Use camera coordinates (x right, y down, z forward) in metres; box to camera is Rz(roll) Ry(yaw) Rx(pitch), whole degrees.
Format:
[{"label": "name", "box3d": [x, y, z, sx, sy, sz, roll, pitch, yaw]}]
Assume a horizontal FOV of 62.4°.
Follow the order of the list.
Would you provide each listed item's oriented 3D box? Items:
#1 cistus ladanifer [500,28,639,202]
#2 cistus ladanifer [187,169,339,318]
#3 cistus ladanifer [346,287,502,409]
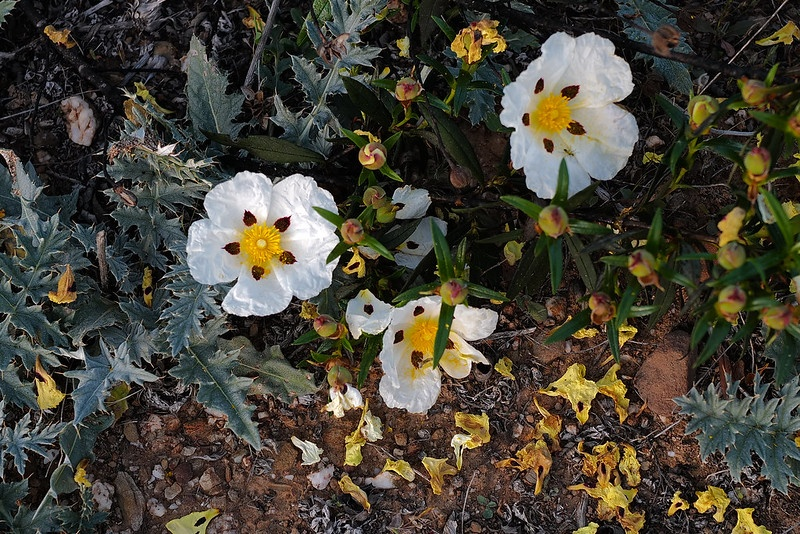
[{"label": "cistus ladanifer", "box3d": [0.764, -0.690, 2.999, 0.686, 0.415, 0.565, -26, 71, -9]}, {"label": "cistus ladanifer", "box3d": [-0.637, -0.117, 3.087, 0.702, 0.305, 0.604, -4, 69, -2]}, {"label": "cistus ladanifer", "box3d": [0.113, 0.304, 3.224, 0.674, 0.769, 0.346, 36, 107, 49]}]
